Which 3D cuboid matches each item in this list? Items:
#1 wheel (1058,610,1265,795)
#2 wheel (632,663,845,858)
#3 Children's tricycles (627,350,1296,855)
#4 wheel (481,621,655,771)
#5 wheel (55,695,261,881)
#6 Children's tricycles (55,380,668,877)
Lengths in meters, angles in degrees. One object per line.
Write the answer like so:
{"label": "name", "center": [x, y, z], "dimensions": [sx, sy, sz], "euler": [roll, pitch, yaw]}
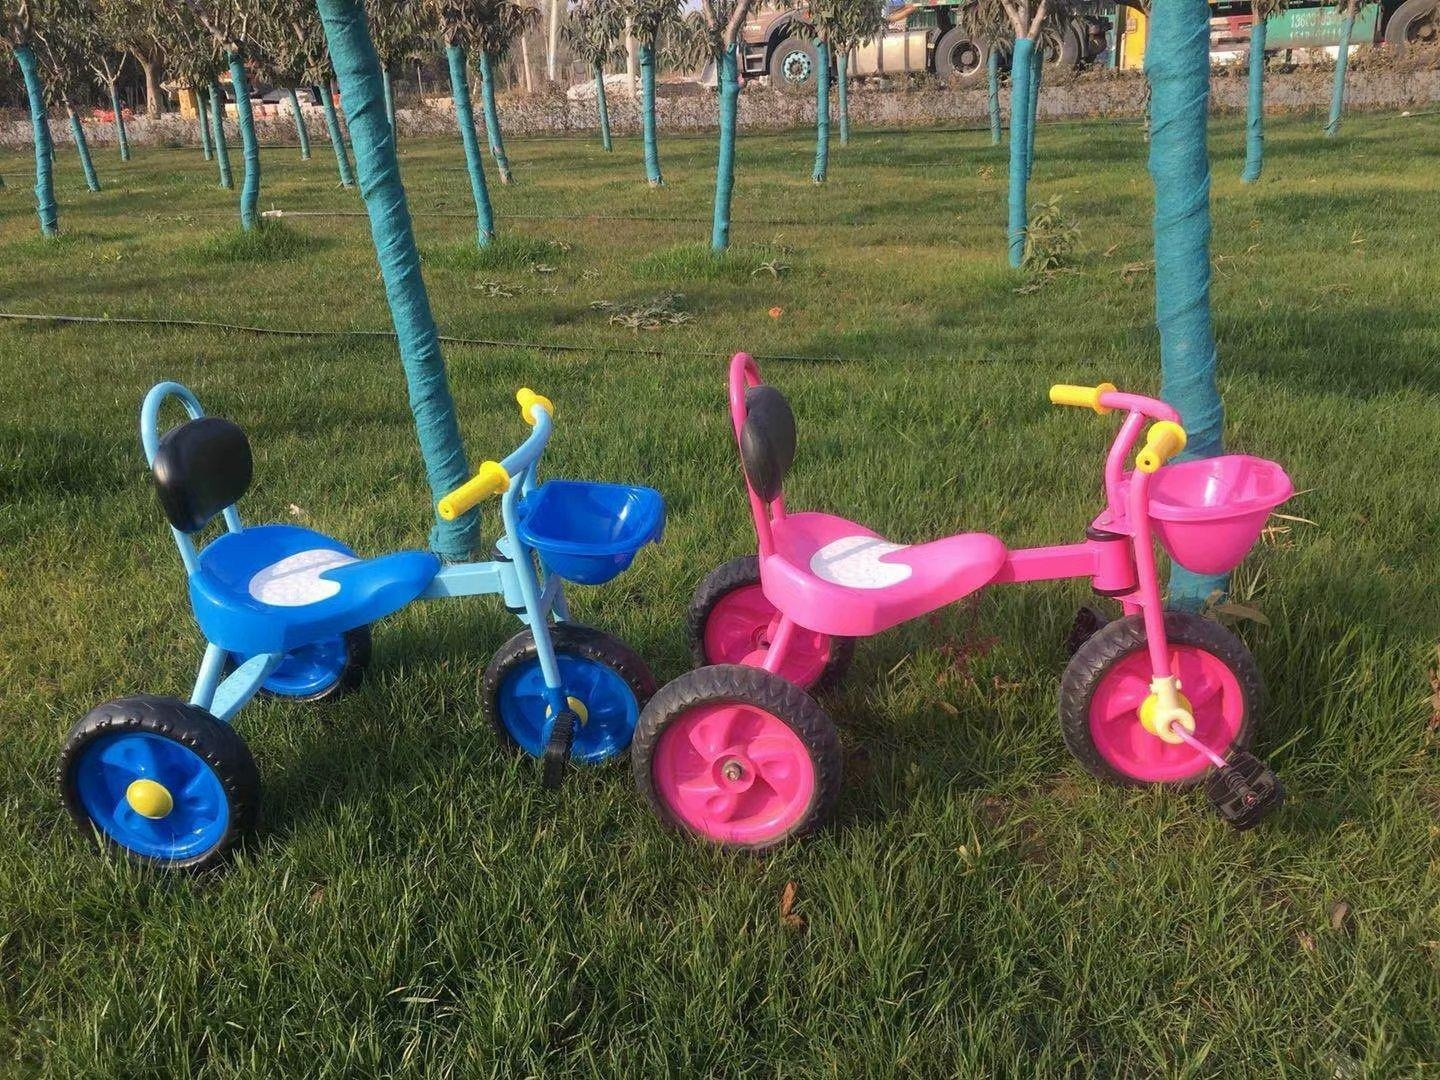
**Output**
{"label": "wheel", "center": [1.689, 0.648, 5.594], "dimensions": [0.506, 0.675, 0.179], "euler": [-5, 6, 0]}
{"label": "wheel", "center": [0.053, 0.871, 5.538], "dimensions": [0.529, 0.695, 0.178], "euler": [0, 10, 6]}
{"label": "Children's tricycles", "center": [0.954, 0.241, 6.118], "dimensions": [2.371, 2.005, 1.663], "euler": [-2, 27, 4]}
{"label": "wheel", "center": [-0.612, 0.596, 5.850], "dimensions": [0.509, 0.655, 0.590], "euler": [2, 14, 3]}
{"label": "wheel", "center": [-2.175, 0.949, 5.658], "dimensions": [0.712, 0.898, 0.247], "euler": [6, 35, -4]}
{"label": "Children's tricycles", "center": [-1.311, 0.289, 5.885], "dimensions": [1.935, 1.894, 1.699], "euler": [2, 24, -2]}
